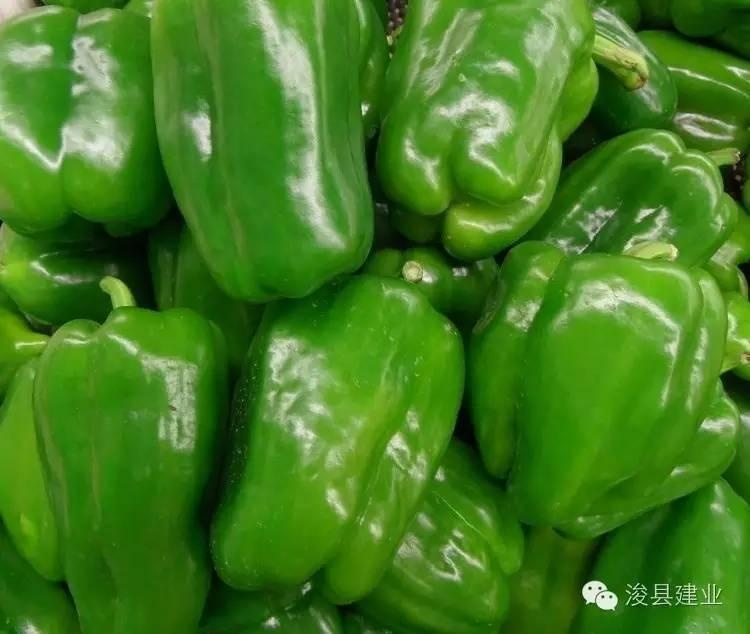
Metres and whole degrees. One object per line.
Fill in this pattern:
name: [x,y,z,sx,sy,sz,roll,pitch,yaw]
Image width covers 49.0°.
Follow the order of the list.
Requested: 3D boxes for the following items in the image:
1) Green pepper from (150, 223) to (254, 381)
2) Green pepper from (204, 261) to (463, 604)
Green pepper: [-0.409,-0.057,1.911,0.149,0.197,0.404,-29,93,-23]
Green pepper: [-0.070,0.223,1.642,0.351,0.309,0.745,14,91,14]
